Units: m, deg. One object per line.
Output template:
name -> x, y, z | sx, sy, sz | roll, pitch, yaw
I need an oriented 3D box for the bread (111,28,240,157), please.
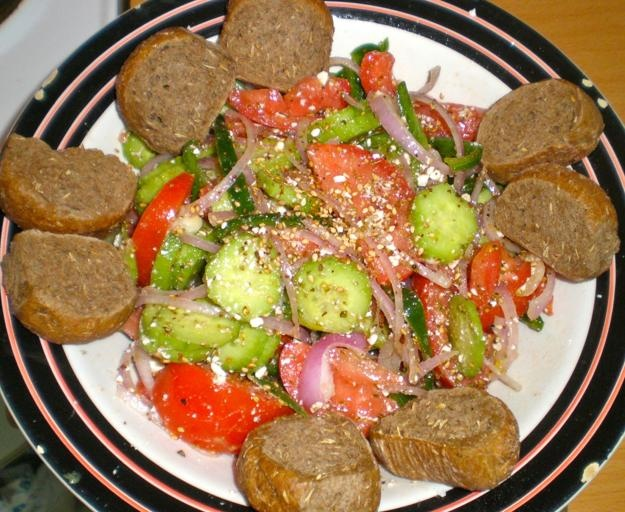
bread -> -0.456, -0.564, 2.449 | 0.309, 0.398, 0.210 | 41, -2, 3

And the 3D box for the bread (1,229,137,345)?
bread -> -0.777, 0.079, 2.297 | 0.370, 0.381, 0.196 | -24, -3, -1

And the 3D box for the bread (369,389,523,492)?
bread -> 0.433, 0.573, 2.399 | 0.498, 0.132, 0.402 | 6, 23, 19
